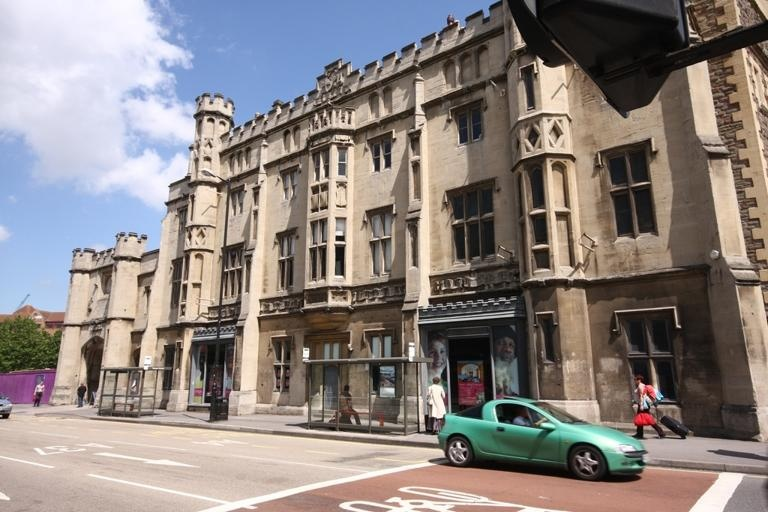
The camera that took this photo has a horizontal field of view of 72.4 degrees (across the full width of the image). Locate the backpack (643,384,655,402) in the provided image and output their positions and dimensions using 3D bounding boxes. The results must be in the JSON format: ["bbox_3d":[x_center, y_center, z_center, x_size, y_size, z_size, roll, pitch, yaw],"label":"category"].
[{"bbox_3d":[9.040,4.625,17.839,0.507,0.582,0.215,7,-23,-30],"label":"backpack"}]

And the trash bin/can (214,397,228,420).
[{"bbox_3d":[-8.537,7.968,27.458,0.437,1.083,0.779,-3,-9,15],"label":"trash bin/can"}]
